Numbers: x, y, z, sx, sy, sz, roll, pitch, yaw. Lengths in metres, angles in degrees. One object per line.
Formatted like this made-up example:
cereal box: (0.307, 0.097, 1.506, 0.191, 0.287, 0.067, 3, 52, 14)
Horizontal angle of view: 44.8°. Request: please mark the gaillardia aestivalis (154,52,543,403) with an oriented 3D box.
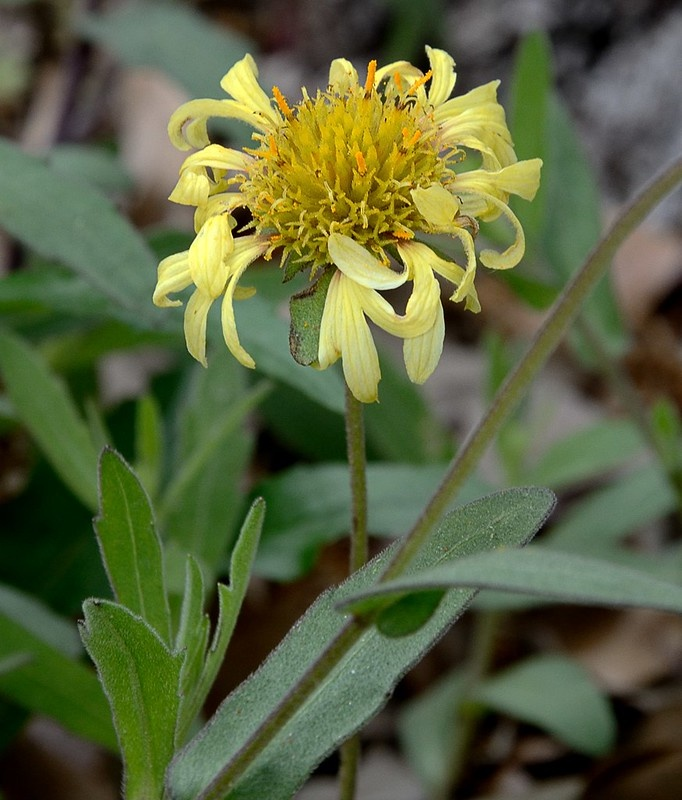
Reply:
gaillardia aestivalis: (0.019, -0.148, 0.743, 0.344, 0.180, 0.366, 6, 24, 36)
